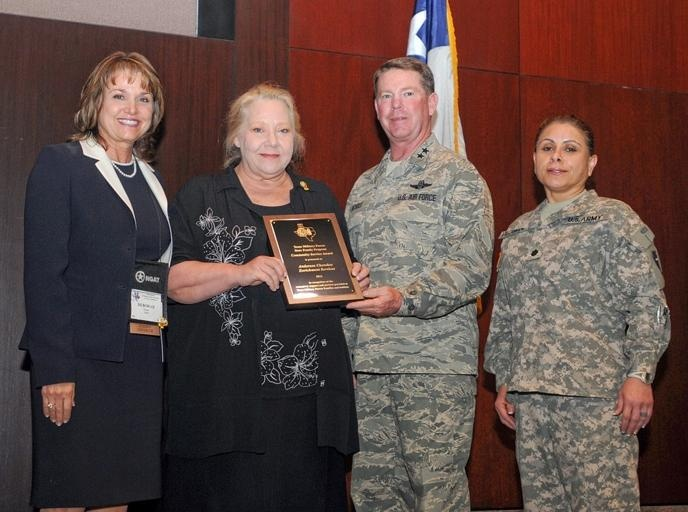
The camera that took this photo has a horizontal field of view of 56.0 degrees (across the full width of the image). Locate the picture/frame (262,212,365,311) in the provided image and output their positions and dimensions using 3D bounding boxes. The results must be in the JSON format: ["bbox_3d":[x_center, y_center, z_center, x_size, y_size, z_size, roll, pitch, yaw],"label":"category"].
[{"bbox_3d":[-0.122,-0.005,2.691,0.333,0.447,0.056,-5,32,15],"label":"picture/frame"}]

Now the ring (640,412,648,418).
[{"bbox_3d":[1.309,0.689,2.834,0.022,0.017,0.022,0,-3,0],"label":"ring"}]

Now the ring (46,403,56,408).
[{"bbox_3d":[-1.114,0.568,2.474,0.018,0.014,0.024,3,5,-8],"label":"ring"}]
